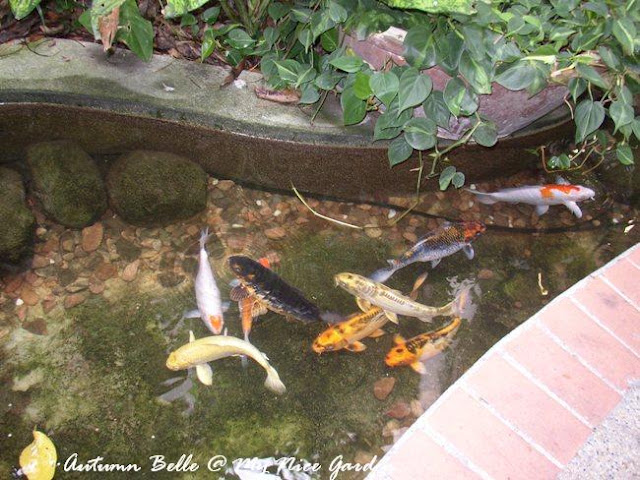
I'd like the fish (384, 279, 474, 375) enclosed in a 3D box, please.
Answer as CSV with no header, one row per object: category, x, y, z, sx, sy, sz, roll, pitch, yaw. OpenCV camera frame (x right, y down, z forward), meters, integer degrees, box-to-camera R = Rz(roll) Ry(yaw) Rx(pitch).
fish,0.515,0.409,2.691,0.183,0.529,0.178,25,49,-17

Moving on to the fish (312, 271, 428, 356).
fish,0.235,0.363,2.580,0.501,0.138,0.199,-33,59,-6

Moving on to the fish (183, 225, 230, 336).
fish,-0.522,0.217,2.631,0.154,0.144,0.378,-7,73,-10

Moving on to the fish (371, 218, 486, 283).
fish,0.522,0.060,2.851,0.530,0.215,0.244,-23,38,-3

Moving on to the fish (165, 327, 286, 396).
fish,-0.395,0.530,2.491,0.519,0.070,0.208,11,63,-8

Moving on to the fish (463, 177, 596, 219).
fish,1.099,-0.223,2.966,0.494,0.164,0.241,-3,95,6
